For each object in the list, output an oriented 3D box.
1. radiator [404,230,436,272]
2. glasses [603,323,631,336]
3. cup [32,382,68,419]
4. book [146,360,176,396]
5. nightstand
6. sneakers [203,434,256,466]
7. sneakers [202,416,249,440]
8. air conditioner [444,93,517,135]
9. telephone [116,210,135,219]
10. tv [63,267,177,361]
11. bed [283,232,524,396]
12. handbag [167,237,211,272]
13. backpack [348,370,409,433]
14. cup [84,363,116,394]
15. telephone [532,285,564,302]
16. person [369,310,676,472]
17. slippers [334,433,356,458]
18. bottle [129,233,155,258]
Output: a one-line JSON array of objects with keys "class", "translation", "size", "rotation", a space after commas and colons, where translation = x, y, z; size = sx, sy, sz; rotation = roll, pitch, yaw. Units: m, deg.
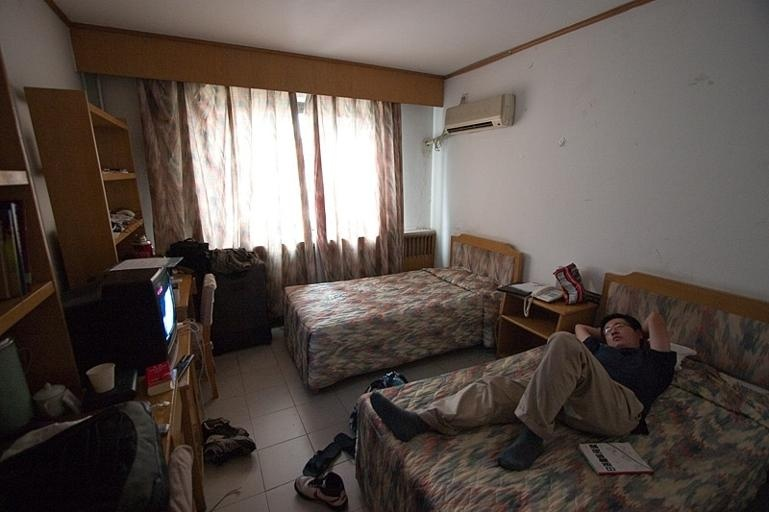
[{"class": "radiator", "translation": [0.416, -0.069, 5.980], "size": [0.445, 0.426, 0.162], "rotation": [-8, 20, -27]}, {"class": "glasses", "translation": [1.714, 0.558, 3.667], "size": [0.103, 0.033, 0.108], "rotation": [-10, 38, 41]}, {"class": "cup", "translation": [-1.861, 0.806, 2.784], "size": [0.172, 0.188, 0.174], "rotation": [2, 11, 0]}, {"class": "book", "translation": [-1.396, 0.759, 3.012], "size": [0.153, 0.154, 0.172], "rotation": [-7, 11, -24]}, {"class": "nightstand", "translation": [1.405, 0.719, 4.388], "size": [0.477, 0.647, 0.651], "rotation": [1, 13, -29]}, {"class": "sneakers", "translation": [-1.152, 1.422, 3.580], "size": [0.241, 0.096, 0.206], "rotation": [-2, 4, -32]}, {"class": "sneakers", "translation": [-1.248, 1.335, 3.716], "size": [0.384, 0.152, 0.137], "rotation": [0, 1, -7]}, {"class": "air conditioner", "translation": [0.943, -1.455, 5.146], "size": [0.170, 0.321, 0.944], "rotation": [-8, 11, -28]}, {"class": "telephone", "translation": [-2.249, -0.352, 4.229], "size": [0.085, 0.034, 0.111], "rotation": [10, 8, 24]}, {"class": "tv", "translation": [-1.678, 0.303, 3.244], "size": [0.618, 0.604, 0.586], "rotation": [-2, 14, -13]}, {"class": "bed", "translation": [0.130, 0.397, 4.938], "size": [2.159, 1.156, 1.314], "rotation": [-7, 13, -25]}, {"class": "handbag", "translation": [-1.805, 0.005, 4.454], "size": [0.289, 0.295, 0.159], "rotation": [3, 10, 5]}, {"class": "backpack", "translation": [-0.058, 1.147, 3.891], "size": [0.473, 0.146, 0.394], "rotation": [-9, 1, -17]}, {"class": "cup", "translation": [-1.658, 0.729, 2.862], "size": [0.165, 0.128, 0.157], "rotation": [0, 7, 0]}, {"class": "telephone", "translation": [1.466, 0.350, 4.333], "size": [0.166, 0.053, 0.171], "rotation": [-15, 20, -35]}, {"class": "person", "translation": [0.959, 0.771, 3.528], "size": [2.087, 1.156, 0.928], "rotation": [0, 1, -17]}, {"class": "slippers", "translation": [-0.288, 1.440, 3.675], "size": [0.145, 0.045, 0.109], "rotation": [31, 43, 32]}, {"class": "bottle", "translation": [-2.108, -0.072, 4.240], "size": [0.226, 0.235, 0.196], "rotation": [1, 13, -6]}]
